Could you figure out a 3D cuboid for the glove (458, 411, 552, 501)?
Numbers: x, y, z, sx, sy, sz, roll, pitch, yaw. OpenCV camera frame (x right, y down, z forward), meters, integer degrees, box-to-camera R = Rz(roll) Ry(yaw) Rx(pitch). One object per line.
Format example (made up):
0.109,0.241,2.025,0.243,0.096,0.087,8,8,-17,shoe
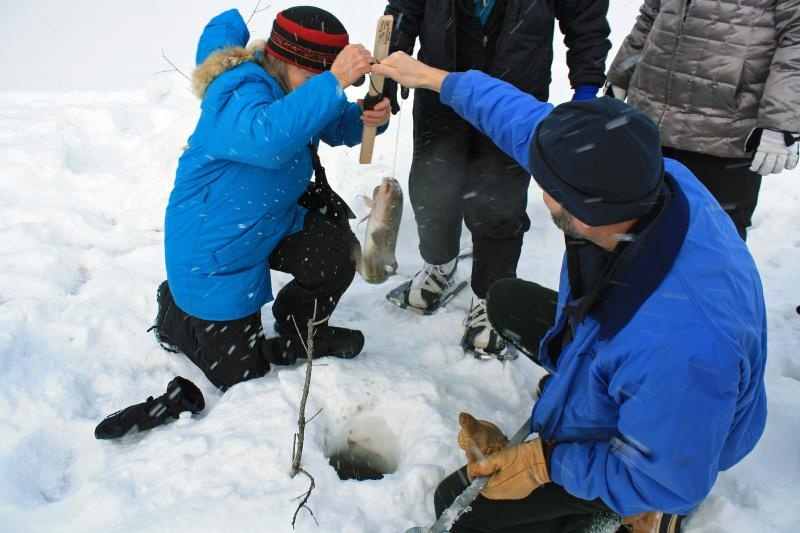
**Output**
0.576,1.065,3.830,0.457,0.380,0.578,-1,5,-45,glove

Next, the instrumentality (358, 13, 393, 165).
-0.171,-1.069,4.278,0.174,1.086,0.119,1,45,-19,instrumentality

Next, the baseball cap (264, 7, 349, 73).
-0.587,-1.412,4.096,0.435,0.256,0.442,30,43,6,baseball cap

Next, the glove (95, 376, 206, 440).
-1.557,0.895,4.109,0.555,0.135,0.318,-19,43,-27,glove

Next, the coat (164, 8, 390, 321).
-0.894,-0.532,4.681,1.444,2.294,1.554,-4,16,-29,coat

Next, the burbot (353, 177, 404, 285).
-0.144,-0.284,4.638,0.339,0.806,0.249,-13,45,-29,burbot

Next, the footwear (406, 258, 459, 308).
0.258,0.094,5.373,0.249,0.231,0.522,20,51,16,footwear

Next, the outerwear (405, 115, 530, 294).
0.484,-0.615,4.965,0.911,1.718,0.483,16,59,15,outerwear

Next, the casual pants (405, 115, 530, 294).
0.484,-0.618,4.934,0.935,1.753,0.489,21,55,22,casual pants
